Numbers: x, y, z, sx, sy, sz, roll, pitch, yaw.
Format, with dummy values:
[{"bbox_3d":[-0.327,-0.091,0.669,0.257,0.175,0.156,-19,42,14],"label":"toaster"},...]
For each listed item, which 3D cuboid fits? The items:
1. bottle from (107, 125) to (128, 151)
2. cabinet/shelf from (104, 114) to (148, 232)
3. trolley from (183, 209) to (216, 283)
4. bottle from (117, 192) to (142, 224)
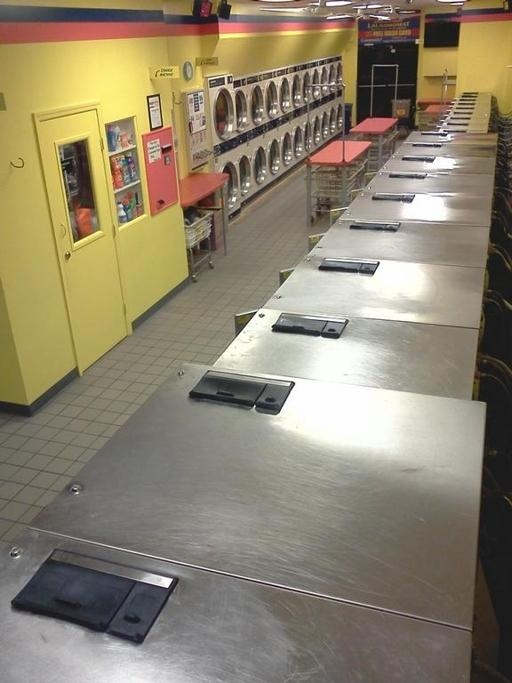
[{"bbox_3d":[-1.532,-2.245,5.267,0.109,0.270,0.376,-2,26,6],"label":"bottle"},{"bbox_3d":[-1.511,-1.925,5.438,0.189,1.094,0.533,5,27,18],"label":"cabinet/shelf"},{"bbox_3d":[-0.884,-1.451,7.263,0.563,0.856,0.875,7,28,18],"label":"trolley"},{"bbox_3d":[-1.499,-1.555,5.592,0.133,0.422,0.289,21,42,28],"label":"bottle"}]
